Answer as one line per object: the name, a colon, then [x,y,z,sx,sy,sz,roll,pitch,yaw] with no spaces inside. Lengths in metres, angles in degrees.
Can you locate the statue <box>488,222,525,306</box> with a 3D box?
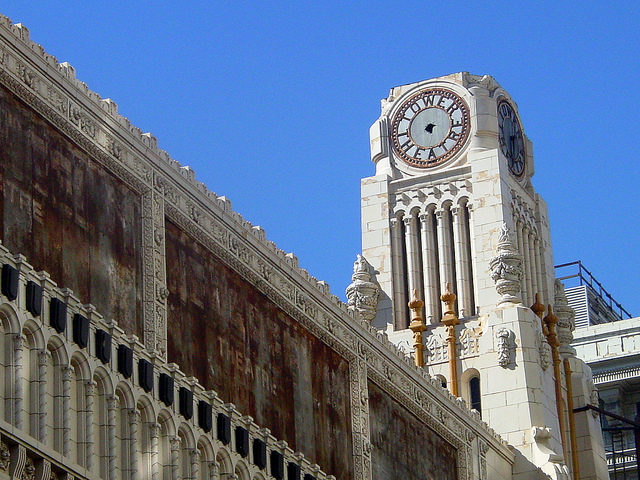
statue: [9.344,1.416,101.353,0.873,5.327,1.029,6,-16,-41]
